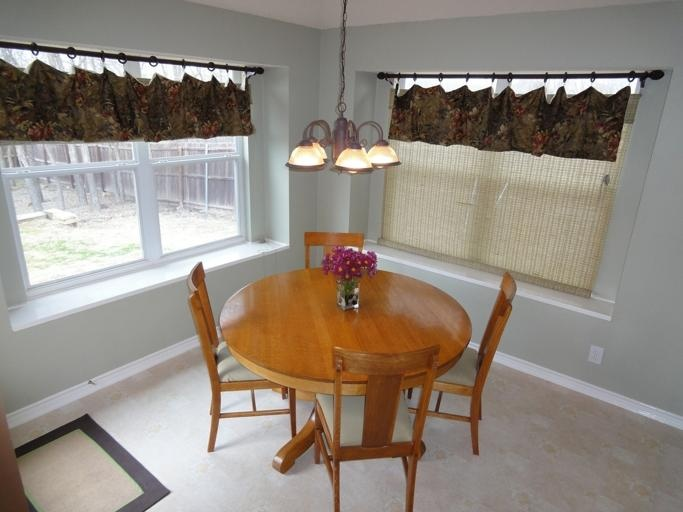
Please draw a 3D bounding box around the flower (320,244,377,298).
[{"bbox_3d":[0.069,0.056,3.364,0.314,0.354,0.329,2,21,7],"label":"flower"}]

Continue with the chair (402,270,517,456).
[{"bbox_3d":[0.883,0.828,3.466,0.823,1.541,0.823,5,16,12],"label":"chair"}]

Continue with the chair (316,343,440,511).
[{"bbox_3d":[0.177,1.016,2.958,0.607,1.255,0.536,-2,19,-13],"label":"chair"}]

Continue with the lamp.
[{"bbox_3d":[-0.004,-1.520,4.087,0.904,1.704,0.929,7,30,11],"label":"lamp"}]

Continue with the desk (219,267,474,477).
[{"bbox_3d":[0.014,0.457,3.200,1.459,0.974,1.445,-6,32,-13],"label":"desk"}]

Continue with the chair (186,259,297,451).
[{"bbox_3d":[-0.711,0.692,3.509,0.766,1.232,0.761,-1,14,2],"label":"chair"}]
